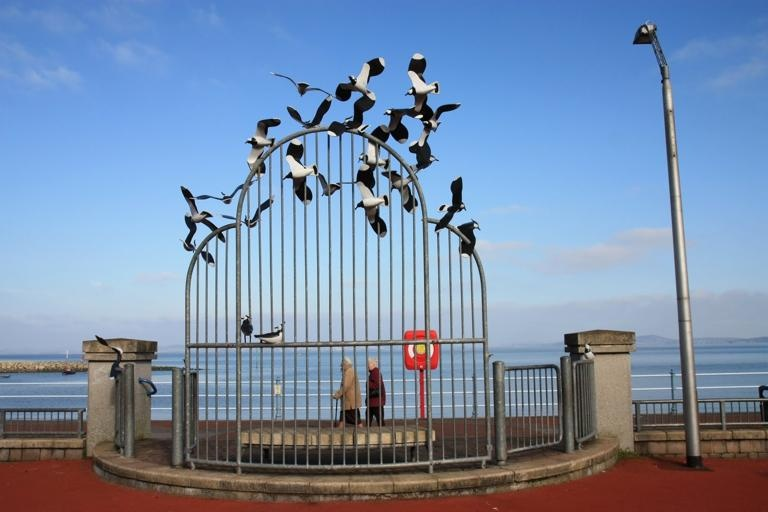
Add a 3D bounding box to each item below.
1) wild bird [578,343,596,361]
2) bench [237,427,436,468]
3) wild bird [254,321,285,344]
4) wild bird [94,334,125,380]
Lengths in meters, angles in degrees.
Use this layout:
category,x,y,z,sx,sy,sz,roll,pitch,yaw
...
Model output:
category,x,y,z,sx,sy,sz,roll,pitch,yaw
wild bird,4.710,2.205,24.028,0.330,0.402,0.374,-3,-10,10
bench,-1.092,4.071,22.357,3.948,0.825,2.021,0,-10,-5
wild bird,-2.325,1.604,21.444,0.478,0.420,0.652,0,-10,-10
wild bird,-6.480,2.436,24.520,0.565,0.970,0.641,1,-10,-15
